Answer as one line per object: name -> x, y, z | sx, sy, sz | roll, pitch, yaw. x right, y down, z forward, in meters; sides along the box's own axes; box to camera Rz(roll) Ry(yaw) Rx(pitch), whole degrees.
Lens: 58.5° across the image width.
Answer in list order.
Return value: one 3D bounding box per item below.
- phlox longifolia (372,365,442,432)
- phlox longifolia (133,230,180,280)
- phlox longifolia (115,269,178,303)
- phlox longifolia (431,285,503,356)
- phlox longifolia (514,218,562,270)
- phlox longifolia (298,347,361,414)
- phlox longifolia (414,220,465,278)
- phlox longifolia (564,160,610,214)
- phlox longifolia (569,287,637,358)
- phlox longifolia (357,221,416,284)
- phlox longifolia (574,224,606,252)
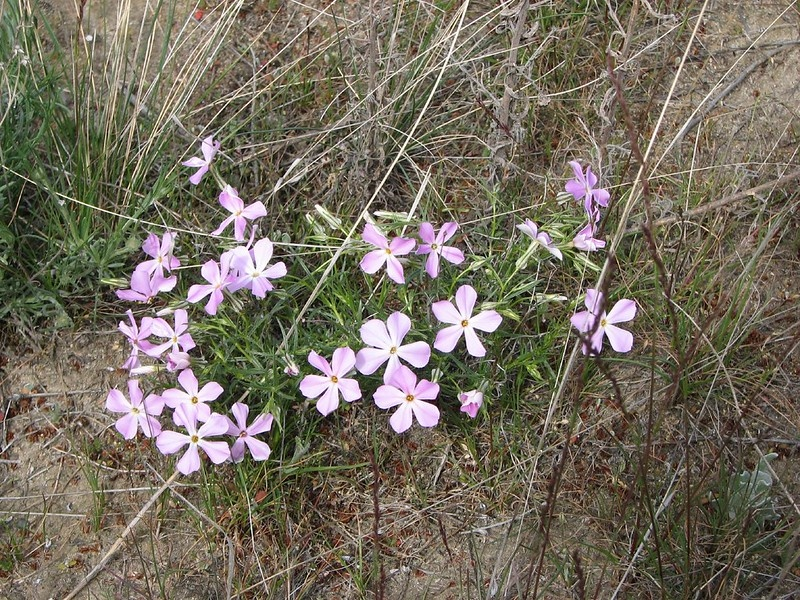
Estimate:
phlox longifolia -> 0.046, 0.369, 2.664 | 0.255, 0.066, 0.283 | -18, 48, -38
phlox longifolia -> -1.018, -0.183, 2.974 | 0.149, 0.057, 0.202 | 10, 82, 1
phlox longifolia -> -1.050, -0.069, 2.982 | 0.227, 0.150, 0.122 | -4, 47, -13
phlox longifolia -> 0.242, 0.134, 2.755 | 0.261, 0.326, 0.256 | 6, 45, -3
phlox longifolia -> 0.543, -0.217, 2.851 | 0.158, 0.120, 0.203 | 10, 47, 12
phlox longifolia -> -0.260, 0.296, 2.696 | 0.191, 0.279, 0.106 | 3, 4, 6
phlox longifolia -> 0.149, -0.228, 2.874 | 0.207, 0.330, 0.157 | -2, 81, 12
phlox longifolia -> 0.782, -0.466, 3.043 | 0.174, 0.083, 0.243 | 1, 88, 0
phlox longifolia -> 0.803, 0.062, 2.801 | 0.275, 0.071, 0.321 | 3, 15, 22
phlox longifolia -> -0.056, -0.193, 2.829 | 0.212, 0.174, 0.214 | 16, 47, 5
phlox longifolia -> 0.762, -0.246, 2.900 | 0.114, 0.111, 0.113 | -1, 47, -10
